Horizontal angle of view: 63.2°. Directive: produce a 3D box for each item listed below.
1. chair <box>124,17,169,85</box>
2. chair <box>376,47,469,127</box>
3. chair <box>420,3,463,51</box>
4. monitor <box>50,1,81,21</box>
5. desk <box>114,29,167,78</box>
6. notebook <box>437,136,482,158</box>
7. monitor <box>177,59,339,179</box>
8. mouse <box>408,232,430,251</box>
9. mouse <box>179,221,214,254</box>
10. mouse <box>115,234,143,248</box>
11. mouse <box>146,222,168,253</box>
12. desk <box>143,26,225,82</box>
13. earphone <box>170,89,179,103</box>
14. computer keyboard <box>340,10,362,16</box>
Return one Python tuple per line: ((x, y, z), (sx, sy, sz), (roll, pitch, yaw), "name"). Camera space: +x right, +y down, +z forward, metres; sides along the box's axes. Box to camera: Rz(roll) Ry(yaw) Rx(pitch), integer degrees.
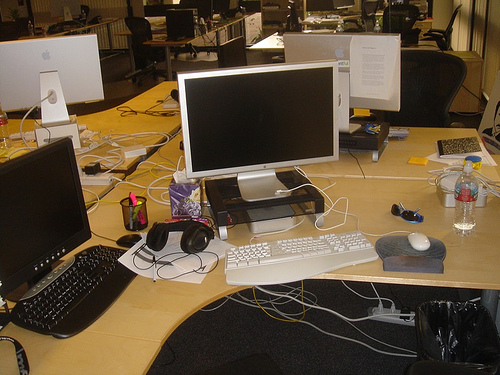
((-1.791, -2.524, 7.438), (0.760, 1.090, 0.847), (15, 29, 33), "chair")
((1.365, -0.748, 3.160), (0.524, 0.557, 0.374), (16, 34, 31), "chair")
((3.375, -2.770, 7.239), (0.501, 0.722, 1.116), (9, 31, 22), "chair")
((-3.631, -3.510, 8.018), (0.587, 0.543, 0.199), (-4, 34, -13), "monitor")
((-2.173, -2.809, 8.262), (0.986, 1.238, 0.987), (-8, 28, -17), "desk")
((1.289, -0.259, 2.497), (0.244, 0.035, 0.346), (8, 32, 20), "notebook")
((0.057, -0.314, 1.857), (0.738, 0.457, 0.121), (-9, 28, -10), "monitor")
((0.708, 0.227, 1.698), (0.090, 0.055, 0.065), (15, 34, 29), "mouse")
((-0.224, 0.193, 1.692), (0.106, 0.054, 0.136), (10, 18, 10), "mouse")
((-0.536, 0.233, 1.805), (0.088, 0.031, 0.054), (5, 27, 5), "mouse")
((-0.388, 0.216, 1.711), (0.065, 0.137, 0.111), (12, 3, 18), "mouse")
((-1.218, -2.341, 7.007), (0.787, 0.827, 3.306), (3, 33, 4), "desk")
((-0.620, -0.765, 3.355), (0.057, 0.093, 0.021), (-4, 12, 6), "earphone")
((2.119, -3.651, 8.491), (0.433, 0.029, 0.577), (8, 32, 18), "computer keyboard")
